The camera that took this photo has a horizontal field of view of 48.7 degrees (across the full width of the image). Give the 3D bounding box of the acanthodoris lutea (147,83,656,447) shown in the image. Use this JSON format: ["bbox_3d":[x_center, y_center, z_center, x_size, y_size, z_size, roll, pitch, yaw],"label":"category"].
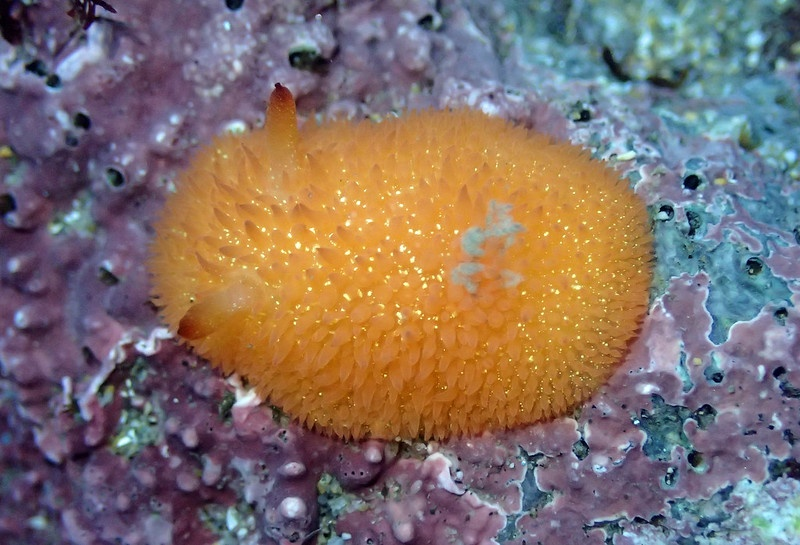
[{"bbox_3d":[0.039,0.006,4.207,2.299,0.709,1.568,4,84,2],"label":"acanthodoris lutea"}]
